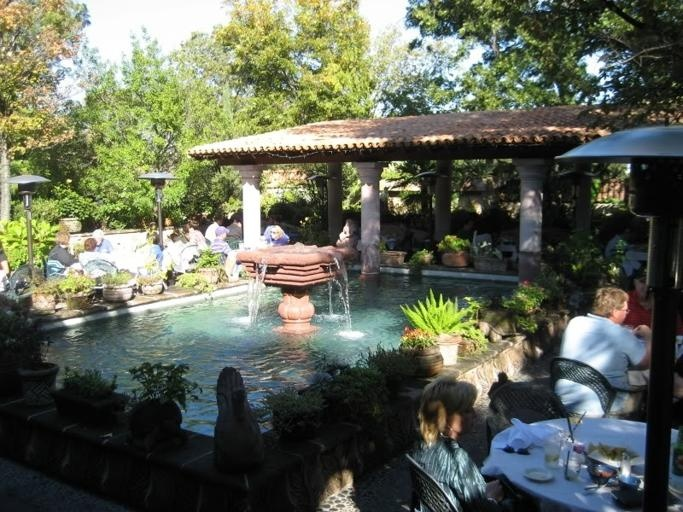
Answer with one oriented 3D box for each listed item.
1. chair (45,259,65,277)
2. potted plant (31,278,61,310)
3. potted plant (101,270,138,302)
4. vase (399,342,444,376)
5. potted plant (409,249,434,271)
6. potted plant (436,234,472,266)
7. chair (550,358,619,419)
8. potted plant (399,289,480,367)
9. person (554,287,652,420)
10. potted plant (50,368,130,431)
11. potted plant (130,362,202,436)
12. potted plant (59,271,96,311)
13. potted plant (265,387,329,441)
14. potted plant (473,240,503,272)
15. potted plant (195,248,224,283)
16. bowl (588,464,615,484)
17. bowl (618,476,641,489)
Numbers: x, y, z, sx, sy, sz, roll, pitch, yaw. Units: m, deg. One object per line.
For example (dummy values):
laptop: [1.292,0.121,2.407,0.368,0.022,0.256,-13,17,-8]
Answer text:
chair: [-6.196,0.243,10.892,0.358,0.347,0.561,-5,13,-29]
potted plant: [-6.024,0.768,10.227,0.553,0.291,0.533,15,25,35]
potted plant: [-4.840,0.619,11.144,0.701,0.673,0.687,2,2,-5]
vase: [0.991,1.244,6.138,0.411,0.242,0.405,0,-1,9]
potted plant: [2.641,0.112,16.996,0.702,0.378,0.713,0,-2,-2]
potted plant: [3.795,-0.200,16.822,1.019,0.886,1.018,3,-2,-37]
chair: [2.220,1.182,4.702,0.459,0.544,0.446,-22,-52,36]
potted plant: [1.267,0.963,7.393,1.283,0.869,0.981,1,5,44]
person: [2.612,0.940,4.991,0.919,1.210,1.002,5,9,39]
potted plant: [-2.474,1.374,4.986,0.692,0.410,0.493,5,5,30]
potted plant: [-1.587,1.252,4.466,0.563,0.600,0.435,-1,12,-14]
potted plant: [-5.494,0.700,10.563,0.775,0.770,0.650,1,4,-1]
potted plant: [-0.427,1.427,4.641,0.506,0.350,0.603,4,11,12]
potted plant: [4.711,0.000,16.144,0.985,0.582,0.942,6,11,33]
potted plant: [-3.582,0.253,13.515,0.628,0.886,0.557,3,11,8]
bowl: [1.582,1.320,3.079,0.089,0.037,0.104,4,12,33]
bowl: [1.641,1.280,2.859,0.079,0.028,0.080,1,2,0]
